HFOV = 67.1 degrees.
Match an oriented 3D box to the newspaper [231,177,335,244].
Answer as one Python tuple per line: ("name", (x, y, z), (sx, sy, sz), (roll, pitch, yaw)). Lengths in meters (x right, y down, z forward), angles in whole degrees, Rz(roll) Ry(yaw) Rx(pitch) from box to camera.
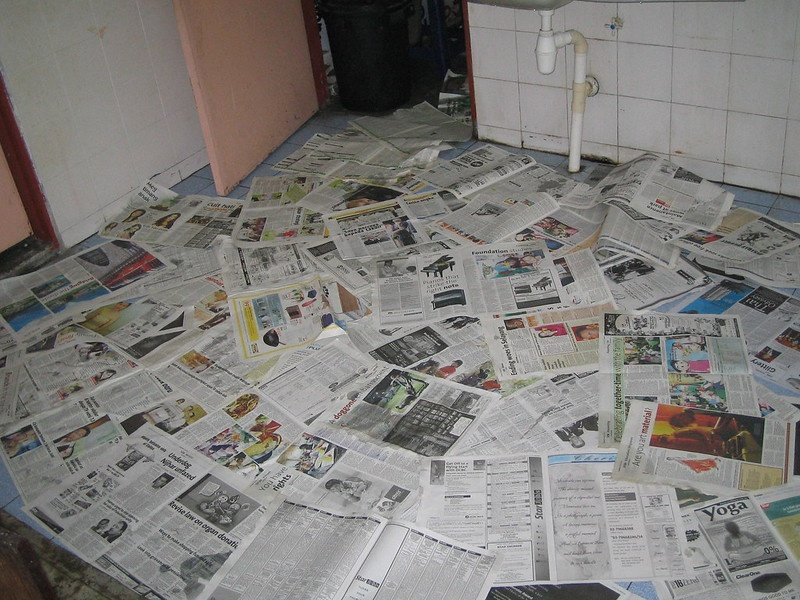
("newspaper", (-0.437, -0.312, 2.233), (0.343, 0.017, 0.333), (-2, 43, 6))

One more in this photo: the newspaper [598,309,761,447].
("newspaper", (0.698, 0.171, 1.550), (0.380, 0.364, 0.011), (-11, 21, 41))

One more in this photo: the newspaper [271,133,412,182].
("newspaper", (-0.232, -0.607, 2.533), (0.530, 0.030, 0.270), (12, 38, 23))

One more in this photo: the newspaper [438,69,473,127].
("newspaper", (0.272, -0.952, 2.838), (0.197, 0.220, 0.092), (-19, 23, -34))

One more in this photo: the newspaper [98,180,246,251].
("newspaper", (-0.913, -0.292, 2.296), (0.463, 0.037, 0.273), (2, 68, 12))

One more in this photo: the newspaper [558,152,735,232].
("newspaper", (0.866, -0.353, 1.964), (0.572, 0.120, 0.288), (20, 52, 28))

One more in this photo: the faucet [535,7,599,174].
("faucet", (0.585, -0.719, 2.108), (0.202, 0.573, 0.321), (7, 35, 16))

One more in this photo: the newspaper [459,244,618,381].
("newspaper", (0.381, 0.024, 1.595), (0.356, 0.011, 0.337), (-8, 44, 2))
